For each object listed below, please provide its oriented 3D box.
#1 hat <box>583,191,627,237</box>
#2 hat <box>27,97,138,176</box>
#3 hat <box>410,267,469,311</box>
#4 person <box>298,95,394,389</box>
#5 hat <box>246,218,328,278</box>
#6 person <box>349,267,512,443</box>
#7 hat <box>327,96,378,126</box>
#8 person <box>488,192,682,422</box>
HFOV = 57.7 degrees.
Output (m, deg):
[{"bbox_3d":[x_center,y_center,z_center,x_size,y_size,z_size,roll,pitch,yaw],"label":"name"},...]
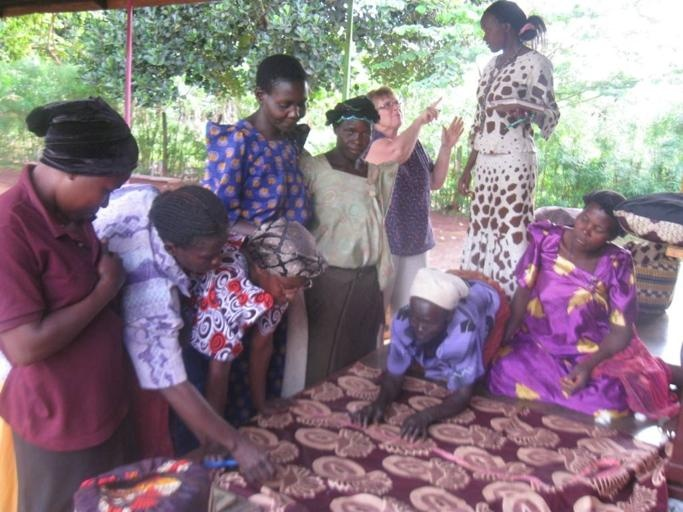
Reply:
[{"bbox_3d":[1.322,-0.252,3.179,0.181,0.235,0.209,12,-20,6],"label":"hat"},{"bbox_3d":[-0.975,-0.444,2.348,0.431,0.319,0.324,10,6,-24],"label":"hat"},{"bbox_3d":[0.450,0.154,2.848,0.224,0.172,0.256,8,13,20],"label":"hat"},{"bbox_3d":[0.033,0.035,3.589,0.583,1.917,0.477,0,28,-5],"label":"person"},{"bbox_3d":[-0.249,-0.033,2.744,0.283,0.132,0.269,37,42,8],"label":"hat"},{"bbox_3d":[0.461,0.344,3.000,0.548,0.642,1.049,17,34,28],"label":"person"},{"bbox_3d":[0.058,-0.776,3.322,0.285,0.160,0.158,3,12,-2],"label":"hat"},{"bbox_3d":[1.230,0.272,3.259,0.907,0.922,0.620,14,26,36],"label":"person"}]
